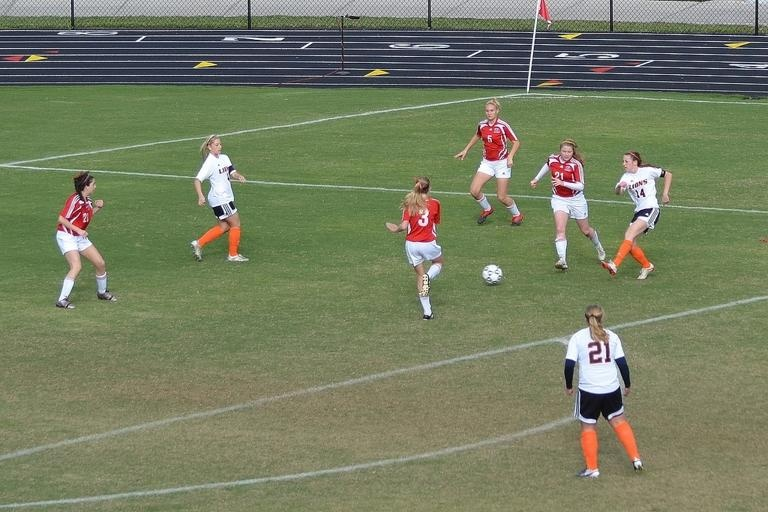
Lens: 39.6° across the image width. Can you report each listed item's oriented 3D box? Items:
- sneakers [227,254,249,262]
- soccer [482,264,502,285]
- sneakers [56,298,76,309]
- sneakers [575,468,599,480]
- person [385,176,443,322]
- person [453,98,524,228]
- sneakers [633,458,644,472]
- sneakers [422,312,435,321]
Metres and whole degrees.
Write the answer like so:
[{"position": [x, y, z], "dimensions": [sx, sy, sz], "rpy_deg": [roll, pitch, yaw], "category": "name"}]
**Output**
[{"position": [-2.964, 0.049, 21.848], "dimensions": [0.504, 0.130, 0.143], "rpy_deg": [0, 12, -1], "category": "sneakers"}, {"position": [2.070, 0.336, 20.523], "dimensions": [0.392, 0.379, 0.631], "rpy_deg": [-1, 11, 4], "category": "soccer"}, {"position": [-5.769, 0.864, 19.421], "dimensions": [0.353, 0.103, 0.176], "rpy_deg": [2, 8, 28], "category": "sneakers"}, {"position": [2.847, 3.035, 14.893], "dimensions": [0.390, 0.118, 0.112], "rpy_deg": [3, 8, 5], "category": "sneakers"}, {"position": [0.567, -0.139, 18.869], "dimensions": [0.754, 2.540, 0.962], "rpy_deg": [1, 15, 12], "category": "person"}, {"position": [2.431, -2.152, 24.324], "dimensions": [1.350, 2.860, 1.148], "rpy_deg": [-2, 14, 1], "category": "person"}, {"position": [3.537, 2.924, 14.937], "dimensions": [0.148, 0.079, 0.174], "rpy_deg": [-6, 47, 4], "category": "sneakers"}, {"position": [0.777, 1.070, 18.985], "dimensions": [0.245, 0.138, 0.427], "rpy_deg": [0, 0, 14], "category": "sneakers"}]
